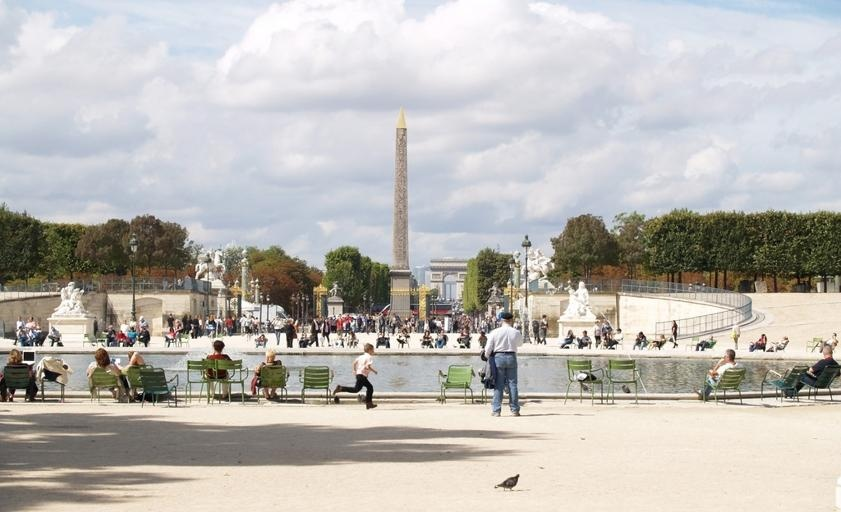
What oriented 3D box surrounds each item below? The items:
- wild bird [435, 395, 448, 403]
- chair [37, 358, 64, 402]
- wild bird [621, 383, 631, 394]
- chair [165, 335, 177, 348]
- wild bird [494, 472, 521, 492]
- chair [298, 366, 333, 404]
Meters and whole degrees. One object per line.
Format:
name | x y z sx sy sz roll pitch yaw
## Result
wild bird | 1.001 6.062 73.646 0.320 0.177 0.301 1 0 -11
chair | -16.104 5.297 75.287 1.330 1.886 3.213 -1 -5 -11
wild bird | 9.102 5.751 74.971 0.321 0.307 0.359 4 -16 -15
chair | -14.149 4.788 97.758 0.690 0.731 0.702 1 -10 -9
wild bird | 3.409 8.591 66.035 1.032 0.543 0.566 -1 -5 -5
chair | -4.299 5.472 74.302 1.707 1.944 1.507 0 5 -6
